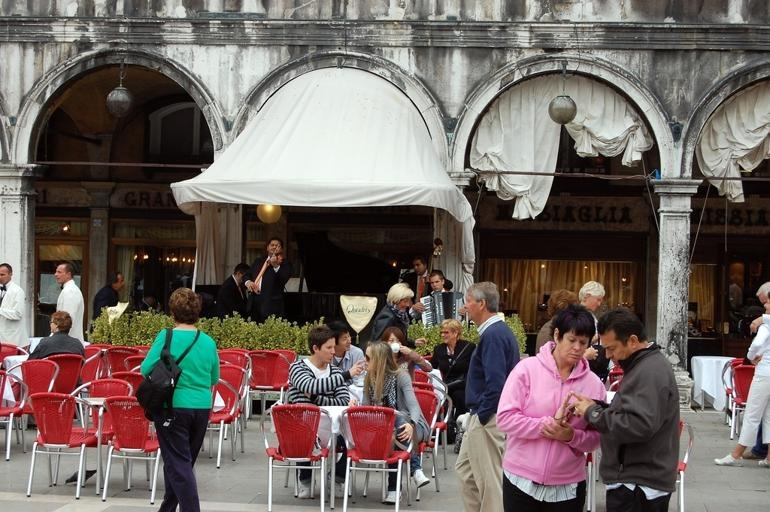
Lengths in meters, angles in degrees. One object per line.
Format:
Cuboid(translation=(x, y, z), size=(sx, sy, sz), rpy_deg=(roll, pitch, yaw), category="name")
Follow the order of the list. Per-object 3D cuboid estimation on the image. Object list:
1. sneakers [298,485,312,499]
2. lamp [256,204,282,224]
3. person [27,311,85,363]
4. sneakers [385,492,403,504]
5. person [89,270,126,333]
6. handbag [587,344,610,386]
Cuboid(translation=(-1.221, 3.553, 21.399), size=(0.243, 0.239, 0.150), rpy_deg=(5, -7, 6), category="sneakers")
Cuboid(translation=(-2.371, -0.871, 28.982), size=(0.424, 0.299, 0.651), rpy_deg=(0, -4, 4), category="lamp")
Cuboid(translation=(-5.471, 1.356, 23.603), size=(1.041, 0.845, 0.632), rpy_deg=(10, -10, -42), category="person")
Cuboid(translation=(0.108, 3.603, 21.104), size=(0.135, 0.142, 0.342), rpy_deg=(-1, -7, 8), category="sneakers")
Cuboid(translation=(-5.315, 0.772, 27.038), size=(0.526, 0.958, 1.568), rpy_deg=(1, -4, -11), category="person")
Cuboid(translation=(3.370, 1.671, 22.127), size=(0.301, 0.594, 0.951), rpy_deg=(0, -4, 9), category="handbag")
